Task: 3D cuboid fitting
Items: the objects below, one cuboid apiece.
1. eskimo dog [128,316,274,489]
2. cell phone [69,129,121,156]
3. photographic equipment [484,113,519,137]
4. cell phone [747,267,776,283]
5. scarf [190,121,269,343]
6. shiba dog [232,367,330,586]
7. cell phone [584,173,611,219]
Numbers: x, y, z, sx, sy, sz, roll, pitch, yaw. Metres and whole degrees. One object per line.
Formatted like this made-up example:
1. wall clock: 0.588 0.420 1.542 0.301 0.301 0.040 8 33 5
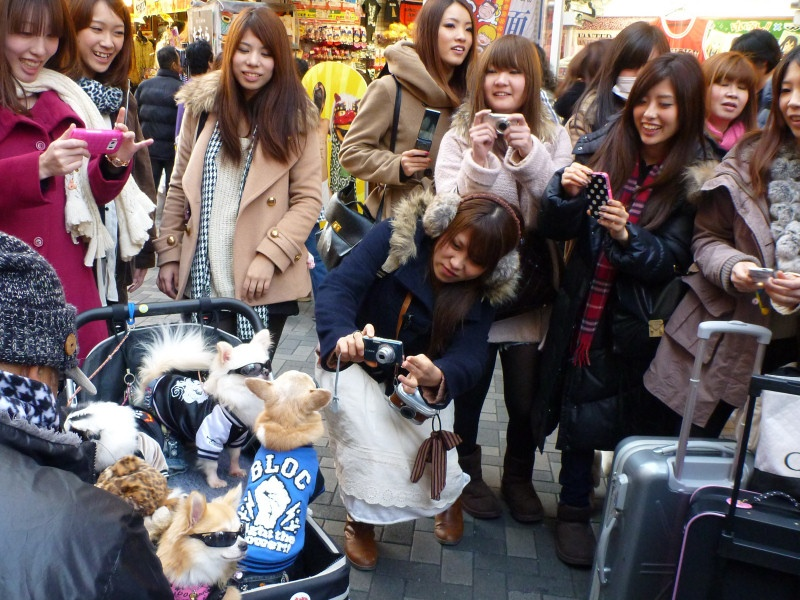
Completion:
1. eskimo dog: -1.063 0.437 3.103 0.895 0.751 0.409 7 10 24
2. cell phone: -1.466 -0.777 3.243 0.189 0.126 0.296 6 13 2
3. photographic equipment: 0.542 -0.946 3.544 0.152 0.122 0.059 3 14 10
4. cell phone: 1.578 -0.105 2.897 0.088 0.072 0.102 -3 15 -32
5. scarf: -0.973 -0.345 3.804 0.396 1.339 0.410 -15 31 -33
6. shiba dog: -0.498 0.774 2.783 0.273 0.436 0.893 6 51 -5
7. cell phone: 0.989 -0.521 3.287 0.027 0.263 0.136 -38 39 -25
